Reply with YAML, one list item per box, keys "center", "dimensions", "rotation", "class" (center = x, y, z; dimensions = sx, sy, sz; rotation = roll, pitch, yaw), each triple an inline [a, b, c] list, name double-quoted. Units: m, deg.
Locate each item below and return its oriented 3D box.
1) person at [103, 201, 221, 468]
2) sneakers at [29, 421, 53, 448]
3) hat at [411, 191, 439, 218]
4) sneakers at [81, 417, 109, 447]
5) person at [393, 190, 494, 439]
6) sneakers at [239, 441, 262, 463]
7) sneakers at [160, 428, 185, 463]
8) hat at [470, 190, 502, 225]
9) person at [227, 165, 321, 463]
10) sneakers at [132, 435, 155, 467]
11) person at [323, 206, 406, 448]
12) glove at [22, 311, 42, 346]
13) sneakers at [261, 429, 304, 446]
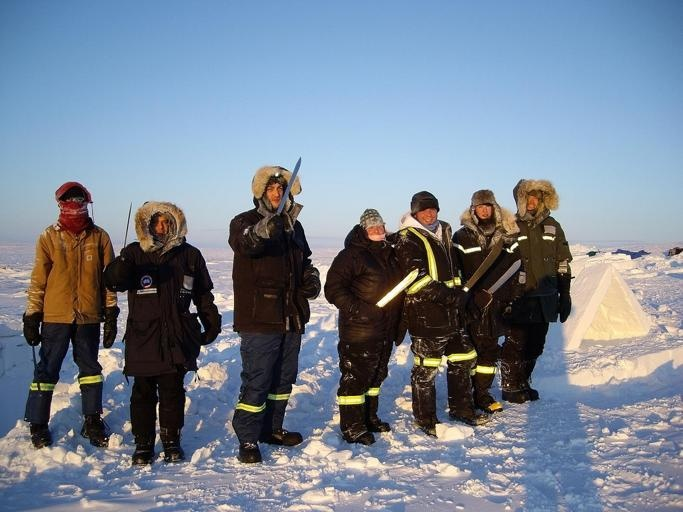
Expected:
- center: [-2.058, 0.886, 7.085]
  dimensions: [1.178, 2.988, 0.798]
  rotation: [-8, 13, -33]
  class: "person"
- center: [-3.567, 2.139, 7.067]
  dimensions: [0.150, 0.183, 0.432]
  rotation: [4, -3, -38]
  class: "sneakers"
- center: [1.032, -0.639, 7.384]
  dimensions: [0.326, 0.352, 0.738]
  rotation: [1, 11, 7]
  class: "hat"
- center: [-3.033, 2.168, 7.362]
  dimensions: [0.572, 0.241, 0.201]
  rotation: [3, 3, 44]
  class: "sneakers"
- center: [1.272, 0.730, 7.691]
  dimensions: [0.979, 3.050, 0.790]
  rotation: [-5, 11, -19]
  class: "person"
- center: [-1.068, 2.287, 6.929]
  dimensions: [0.270, 0.202, 0.202]
  rotation: [-2, 11, -7]
  class: "sneakers"
- center: [-1.980, 2.200, 6.992]
  dimensions: [0.250, 0.363, 0.251]
  rotation: [-4, 11, -18]
  class: "sneakers"
- center: [1.874, -0.574, 7.921]
  dimensions: [0.407, 0.528, 0.507]
  rotation: [1, -20, -2]
  class: "hat"
- center: [-0.862, 0.668, 7.173]
  dimensions: [0.753, 3.455, 1.357]
  rotation: [6, 13, 33]
  class: "person"
- center: [-2.310, 2.244, 6.928]
  dimensions: [0.248, 0.323, 0.290]
  rotation: [-4, 11, -15]
  class: "sneakers"
- center: [0.331, 0.868, 7.574]
  dimensions: [0.992, 2.845, 0.684]
  rotation: [-10, 14, -41]
  class: "person"
- center: [-3.754, 0.901, 7.328]
  dimensions: [0.262, 0.404, 0.267]
  rotation: [-6, -7, 37]
  class: "glove"
- center: [-0.722, 2.257, 7.476]
  dimensions: [0.534, 0.237, 0.191]
  rotation: [-1, -4, 1]
  class: "sneakers"
